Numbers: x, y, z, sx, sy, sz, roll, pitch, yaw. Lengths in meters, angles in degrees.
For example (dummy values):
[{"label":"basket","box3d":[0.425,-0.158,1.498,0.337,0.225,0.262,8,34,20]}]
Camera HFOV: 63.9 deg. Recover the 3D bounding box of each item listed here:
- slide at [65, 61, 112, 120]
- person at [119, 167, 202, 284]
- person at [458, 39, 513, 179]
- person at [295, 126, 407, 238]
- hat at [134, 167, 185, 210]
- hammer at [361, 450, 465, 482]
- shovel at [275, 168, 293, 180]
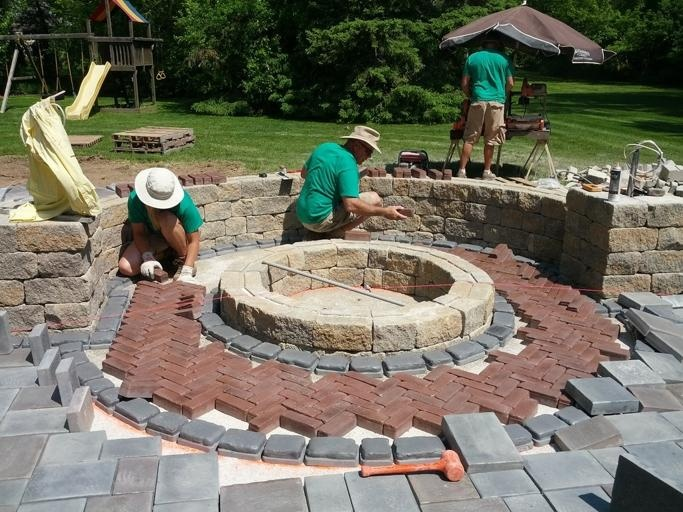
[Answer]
[{"label":"slide","box3d":[-7.691,-5.088,16.609,1.174,1.563,3.268,-4,20,-18]},{"label":"person","box3d":[-2.177,-0.305,6.542,1.136,1.388,1.188,8,45,-11]},{"label":"person","box3d":[2.339,-2.467,8.923,0.955,2.230,0.779,3,13,8]},{"label":"person","box3d":[0.049,-0.925,7.076,1.457,1.483,0.819,12,24,22]},{"label":"hat","box3d":[-2.097,-0.772,6.293,0.520,0.475,0.353,-1,22,-9]},{"label":"hammer","box3d":[0.509,1.462,3.790,0.754,0.139,0.235,-1,17,-6]},{"label":"shovel","box3d":[-0.876,-1.247,8.271,0.277,0.095,0.817,5,13,-12]}]
